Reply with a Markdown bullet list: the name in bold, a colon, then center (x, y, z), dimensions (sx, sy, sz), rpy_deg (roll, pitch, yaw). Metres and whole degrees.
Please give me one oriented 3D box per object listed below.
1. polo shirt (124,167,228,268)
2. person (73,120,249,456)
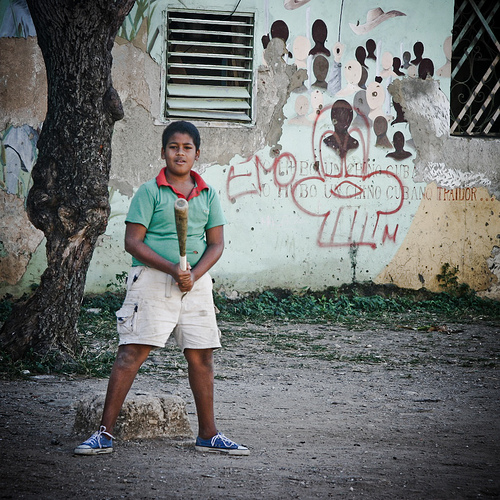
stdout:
- **polo shirt**: center (-0.446, -0.214, 5.278), dimensions (0.620, 0.686, 0.380), rpy_deg (1, -6, -24)
- **person**: center (-0.467, 0.239, 5.127), dimensions (0.907, 2.090, 0.529), rpy_deg (2, 6, 0)
